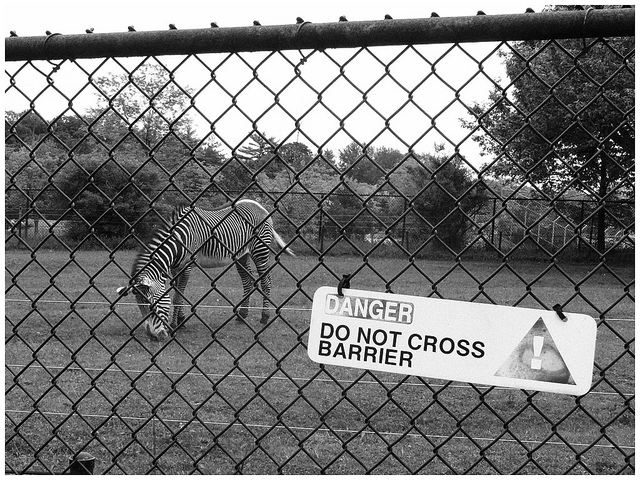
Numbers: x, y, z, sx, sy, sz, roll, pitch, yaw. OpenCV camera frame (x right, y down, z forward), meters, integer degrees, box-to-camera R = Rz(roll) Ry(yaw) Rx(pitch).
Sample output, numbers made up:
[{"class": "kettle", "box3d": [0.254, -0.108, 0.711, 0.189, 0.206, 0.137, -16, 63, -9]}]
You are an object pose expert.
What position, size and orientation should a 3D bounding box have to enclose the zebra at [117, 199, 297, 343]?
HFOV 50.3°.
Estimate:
[{"class": "zebra", "box3d": [-1.558, 0.408, 9.897, 0.789, 1.849, 3.157, 1, 6, 38]}]
